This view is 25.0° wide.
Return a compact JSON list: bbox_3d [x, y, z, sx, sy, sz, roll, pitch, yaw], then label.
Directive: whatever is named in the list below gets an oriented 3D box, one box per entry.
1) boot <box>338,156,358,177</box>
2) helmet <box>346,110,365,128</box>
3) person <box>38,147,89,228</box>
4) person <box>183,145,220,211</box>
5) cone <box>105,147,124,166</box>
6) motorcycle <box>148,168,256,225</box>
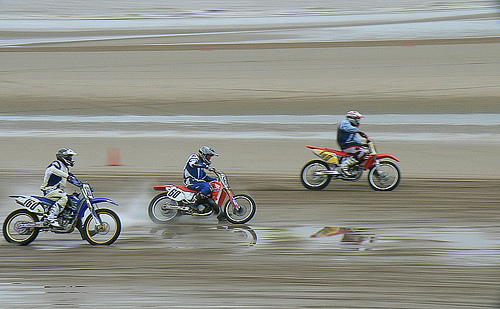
[{"bbox_3d":[3.373,0.399,38.299,0.400,0.639,0.500,20,-31,-37],"label":"boot"},{"bbox_3d":[3.595,-1.258,38.747,0.757,0.449,0.476,-5,2,1],"label":"helmet"},{"bbox_3d":[-5.707,0.994,34.528,0.973,2.354,1.146,13,-29,-26],"label":"person"},{"bbox_3d":[-1.383,0.720,35.983,1.458,1.677,1.223,-3,9,-13],"label":"person"},{"bbox_3d":[-4.913,0.081,41.782,0.519,0.612,0.387,2,-25,-6],"label":"cone"},{"bbox_3d":[-1.425,1.444,36.016,4.066,1.528,1.374,-2,-13,33],"label":"motorcycle"}]
